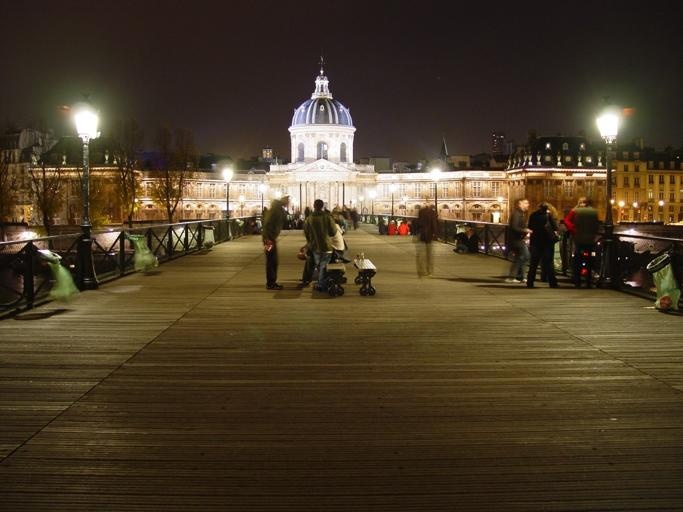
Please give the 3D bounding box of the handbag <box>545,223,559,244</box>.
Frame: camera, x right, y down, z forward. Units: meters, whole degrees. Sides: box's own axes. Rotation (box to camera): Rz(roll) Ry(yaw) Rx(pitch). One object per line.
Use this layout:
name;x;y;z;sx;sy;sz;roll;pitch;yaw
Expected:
handbag;4.656;-0.522;15.388;0.379;0.489;0.208;3;14;23

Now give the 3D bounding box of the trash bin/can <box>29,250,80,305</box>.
trash bin/can;-5.542;0.342;13.582;0.436;1.153;1.148;1;9;8

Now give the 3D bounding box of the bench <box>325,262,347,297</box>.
bench;-0.049;0.340;14.986;0.400;0.563;1.130;-1;17;1

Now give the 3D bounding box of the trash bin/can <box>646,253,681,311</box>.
trash bin/can;5.859;0.440;12.602;0.553;1.036;0.641;4;9;24
